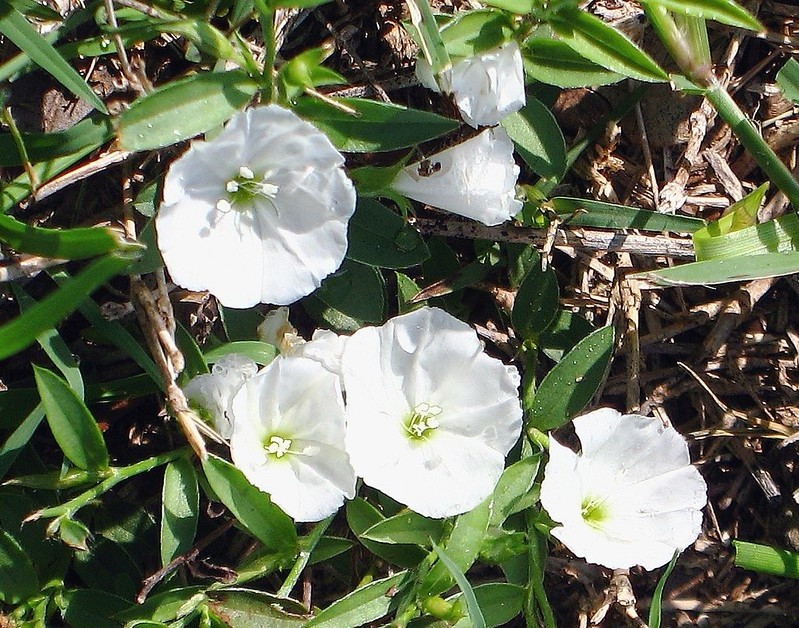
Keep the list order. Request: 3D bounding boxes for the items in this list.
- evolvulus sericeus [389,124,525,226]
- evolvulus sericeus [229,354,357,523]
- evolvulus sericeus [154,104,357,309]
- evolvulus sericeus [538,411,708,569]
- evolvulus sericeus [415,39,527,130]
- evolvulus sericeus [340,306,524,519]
[{"bbox_3d":[0.156,-0.338,1.922,0.253,0.226,0.167,-5,49,-4],"label":"evolvulus sericeus"},{"bbox_3d":[-0.248,0.289,1.796,0.259,0.123,0.374,-8,84,-1],"label":"evolvulus sericeus"},{"bbox_3d":[-0.307,-0.207,1.696,0.443,0.245,0.345,-30,84,-3],"label":"evolvulus sericeus"},{"bbox_3d":[0.577,0.466,2.163,0.413,0.199,0.438,-35,95,-9],"label":"evolvulus sericeus"},{"bbox_3d":[0.209,-0.538,1.861,0.194,0.043,0.162,-21,84,-2],"label":"evolvulus sericeus"},{"bbox_3d":[0.065,0.223,1.877,0.459,0.173,0.441,26,84,3],"label":"evolvulus sericeus"}]
